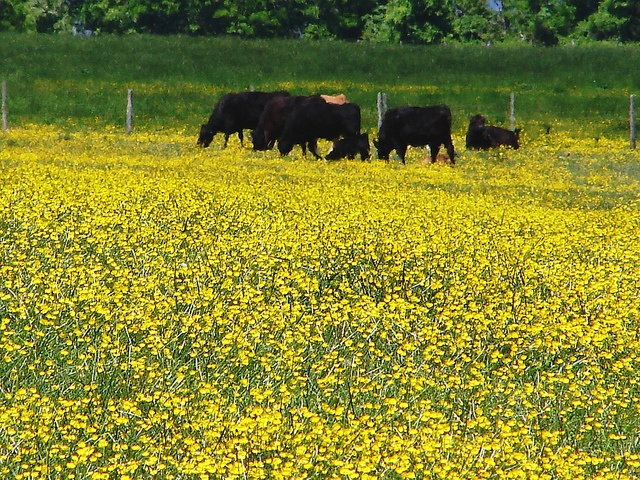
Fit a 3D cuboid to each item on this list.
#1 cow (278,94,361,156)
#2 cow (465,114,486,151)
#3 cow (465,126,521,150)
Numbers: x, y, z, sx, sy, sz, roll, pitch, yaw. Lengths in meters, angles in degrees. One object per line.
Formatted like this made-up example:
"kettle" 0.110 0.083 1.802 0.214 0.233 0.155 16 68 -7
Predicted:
"cow" 0.266 -5.328 61.693 4.064 3.185 1.273 2 -4 41
"cow" 7.798 -5.374 65.892 0.593 2.059 1.025 12 16 40
"cow" 8.554 -5.169 66.524 3.194 1.644 1.065 0 -1 -15
